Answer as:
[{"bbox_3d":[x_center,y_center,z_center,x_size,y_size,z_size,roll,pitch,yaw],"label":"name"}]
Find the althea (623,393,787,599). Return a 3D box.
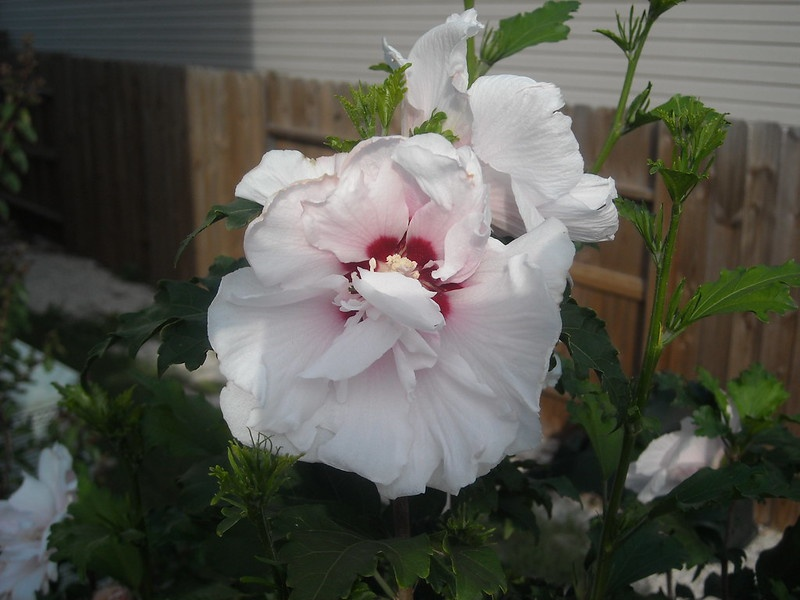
[{"bbox_3d":[0.608,0.380,1.721,0.085,0.249,0.206,-8,25,-30],"label":"althea"}]
